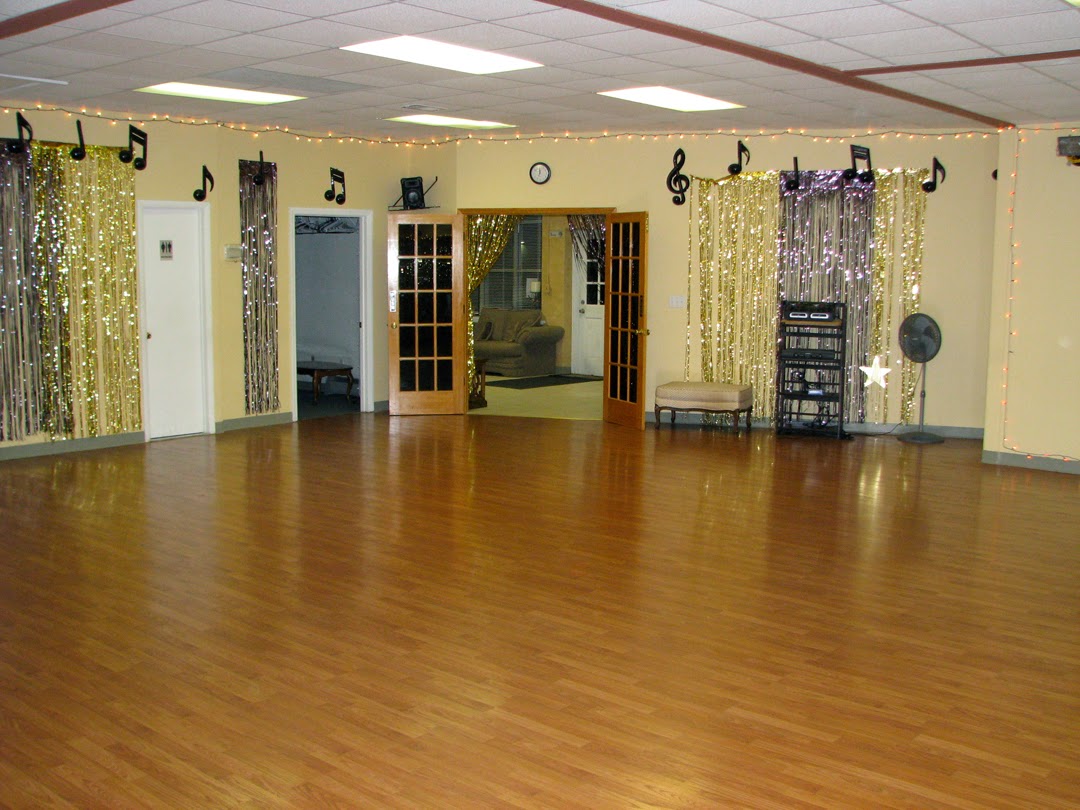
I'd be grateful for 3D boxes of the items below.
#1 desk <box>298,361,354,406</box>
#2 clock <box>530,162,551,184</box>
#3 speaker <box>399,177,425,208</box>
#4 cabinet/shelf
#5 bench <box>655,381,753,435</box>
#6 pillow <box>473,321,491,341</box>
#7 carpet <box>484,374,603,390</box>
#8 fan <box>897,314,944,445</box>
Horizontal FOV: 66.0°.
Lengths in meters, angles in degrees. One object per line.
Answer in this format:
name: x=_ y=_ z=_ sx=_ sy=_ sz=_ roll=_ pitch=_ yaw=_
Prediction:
desk: x=-3.190 y=-0.455 z=12.416 sx=0.655 sy=0.447 sz=0.959 roll=-2 pitch=4 yaw=-39
clock: x=0.009 y=-3.058 z=11.125 sx=0.274 sy=0.262 sz=0.271 roll=-5 pitch=-4 yaw=15
speaker: x=-1.779 y=-2.910 z=11.483 sx=0.342 sy=0.440 sz=0.170 roll=2 pitch=9 yaw=8
cabinet/shelf: x=3.418 y=-0.471 z=10.527 sx=0.872 sy=1.679 sz=0.692 roll=6 pitch=10 yaw=18
bench: x=2.168 y=0.087 z=10.768 sx=1.283 sy=0.704 sz=0.971 roll=3 pitch=6 yaw=26
pillow: x=-1.097 y=-1.408 z=15.995 sx=0.351 sy=0.333 sz=0.132 roll=-3 pitch=-15 yaw=10
carpet: x=0.061 y=-0.434 z=15.022 sx=2.286 sy=0.075 sz=1.230 roll=-6 pitch=10 yaw=-39
fan: x=4.573 y=-0.359 z=9.943 sx=0.527 sy=1.510 sz=0.571 roll=14 pitch=-11 yaw=-43
